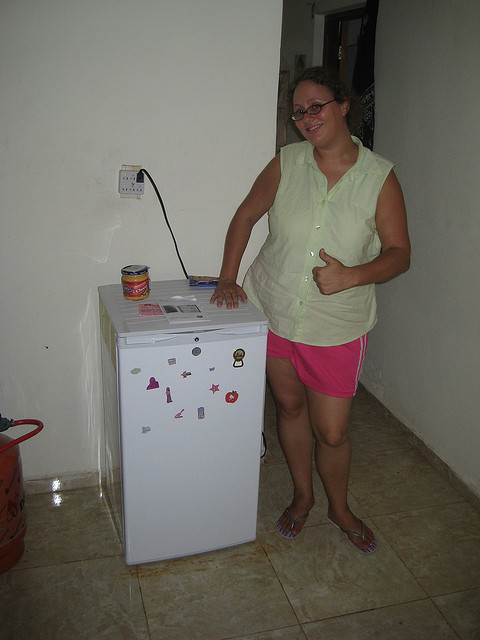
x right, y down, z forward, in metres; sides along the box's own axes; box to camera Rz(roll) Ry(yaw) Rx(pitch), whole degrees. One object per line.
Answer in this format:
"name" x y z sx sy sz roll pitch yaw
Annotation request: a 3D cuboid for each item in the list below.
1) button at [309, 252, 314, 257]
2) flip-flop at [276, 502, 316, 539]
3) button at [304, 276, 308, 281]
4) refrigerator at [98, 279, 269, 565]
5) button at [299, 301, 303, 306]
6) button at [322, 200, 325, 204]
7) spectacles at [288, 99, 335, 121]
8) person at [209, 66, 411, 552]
"button" 0.206 -0.190 1.466 0.013 0.013 0.003 -10 -2 15
"flip-flop" 0.181 0.733 1.853 0.099 0.049 0.099 8 26 20
"button" 0.194 -0.121 1.487 0.013 0.013 0.003 1 0 12
"refrigerator" -0.177 0.352 1.667 0.508 0.879 0.287 -10 26 -19
"button" 0.182 -0.050 1.508 0.012 0.012 0.003 -24 5 7
"button" 0.232 -0.326 1.417 0.008 0.002 0.008 36 61 19
"spectacles" 0.184 -0.557 1.374 0.037 0.045 0.106 -23 32 -39
"person" 0.206 0.036 1.635 0.607 1.495 0.359 18 31 37
